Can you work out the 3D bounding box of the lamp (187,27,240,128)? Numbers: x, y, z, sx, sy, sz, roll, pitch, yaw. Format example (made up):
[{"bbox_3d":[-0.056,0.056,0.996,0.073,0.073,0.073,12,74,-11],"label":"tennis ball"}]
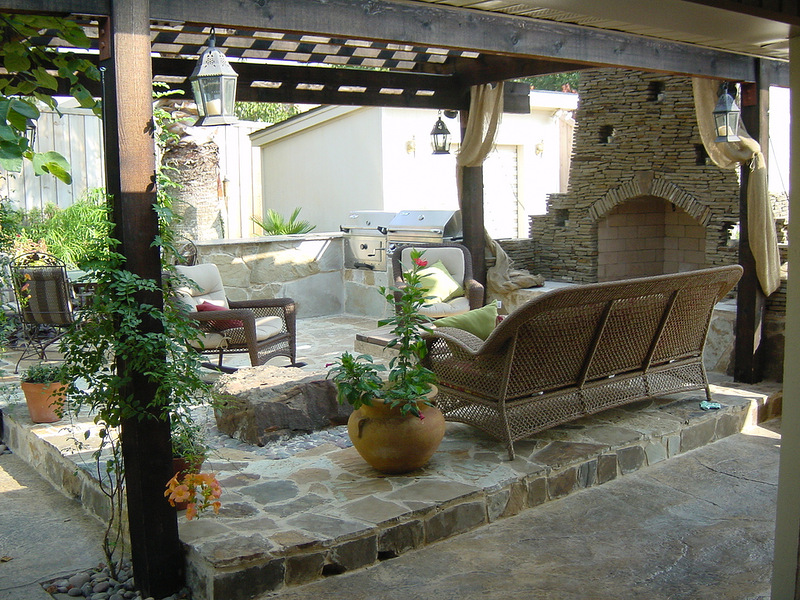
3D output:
[{"bbox_3d":[-1.234,-1.479,4.100,0.289,0.634,0.367,-4,11,-14],"label":"lamp"}]

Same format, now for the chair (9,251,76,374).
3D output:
[{"bbox_3d":[-3.881,0.163,6.606,0.733,1.124,0.599,-28,-11,29],"label":"chair"}]

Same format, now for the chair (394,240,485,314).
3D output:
[{"bbox_3d":[0.577,-0.285,7.886,0.979,1.170,1.036,-1,-1,-7],"label":"chair"}]

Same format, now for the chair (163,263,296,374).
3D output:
[{"bbox_3d":[-1.768,0.230,6.430,1.149,1.020,0.954,5,10,19],"label":"chair"}]

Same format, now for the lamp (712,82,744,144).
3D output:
[{"bbox_3d":[3.039,-1.740,5.710,0.236,0.572,0.458,5,12,26],"label":"lamp"}]

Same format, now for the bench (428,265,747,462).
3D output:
[{"bbox_3d":[1.559,0.382,4.955,2.607,1.134,1.164,-6,7,-31],"label":"bench"}]

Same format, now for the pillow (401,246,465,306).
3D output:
[{"bbox_3d":[0.490,-0.307,7.547,0.787,0.780,0.795,-1,4,-6],"label":"pillow"}]

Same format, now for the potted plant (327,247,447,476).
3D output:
[{"bbox_3d":[-0.058,0.447,4.276,0.649,1.360,0.886,2,-1,-42],"label":"potted plant"}]

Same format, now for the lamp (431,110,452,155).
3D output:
[{"bbox_3d":[0.518,-2.203,8.010,0.342,0.467,0.331,-19,30,-33],"label":"lamp"}]

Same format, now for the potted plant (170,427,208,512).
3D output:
[{"bbox_3d":[-1.245,0.855,3.643,0.182,0.418,0.468,-5,11,-19],"label":"potted plant"}]

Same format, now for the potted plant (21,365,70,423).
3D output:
[{"bbox_3d":[-2.935,0.798,5.124,0.403,0.385,0.373,0,-3,-21],"label":"potted plant"}]
